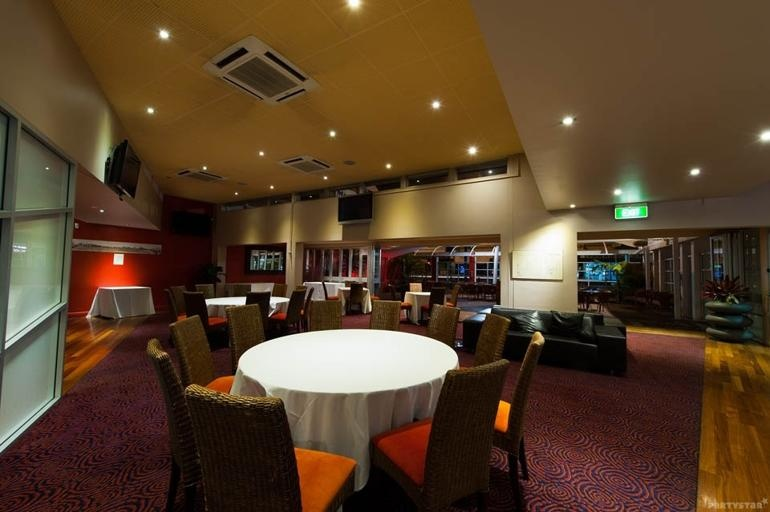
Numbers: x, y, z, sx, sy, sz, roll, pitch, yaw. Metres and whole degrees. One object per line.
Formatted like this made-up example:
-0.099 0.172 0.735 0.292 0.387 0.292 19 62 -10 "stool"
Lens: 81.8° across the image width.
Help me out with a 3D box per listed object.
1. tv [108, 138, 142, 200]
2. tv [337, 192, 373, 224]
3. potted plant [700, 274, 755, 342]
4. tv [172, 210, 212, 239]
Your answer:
-4.463 -1.503 7.613 0.186 0.734 1.129 6 2 -12 "tv"
-0.724 -1.218 11.387 0.789 0.591 0.110 0 0 31 "tv"
6.814 1.031 8.815 0.736 1.255 0.656 -1 -3 41 "potted plant"
-5.863 -0.953 13.404 0.111 0.535 0.864 4 2 36 "tv"
